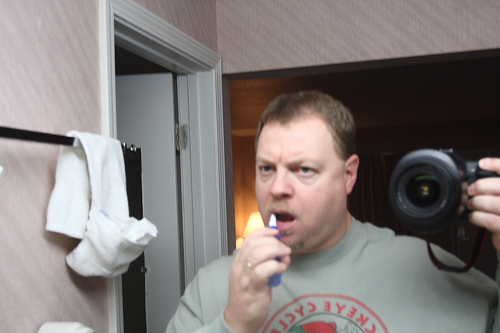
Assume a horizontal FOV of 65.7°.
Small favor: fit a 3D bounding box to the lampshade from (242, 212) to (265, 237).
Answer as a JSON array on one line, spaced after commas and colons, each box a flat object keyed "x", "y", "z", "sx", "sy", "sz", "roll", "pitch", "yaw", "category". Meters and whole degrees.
[{"x": 0.045, "y": 0.894, "z": 5.704, "sx": 0.239, "sy": 0.402, "sz": 0.524, "roll": 1, "pitch": 4, "yaw": -5, "category": "lampshade"}]

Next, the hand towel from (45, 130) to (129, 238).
[{"x": -0.581, "y": 0.055, "z": 1.449, "sx": 0.267, "sy": 0.387, "sz": 0.199, "roll": 8, "pitch": 5, "yaw": 30, "category": "hand towel"}]

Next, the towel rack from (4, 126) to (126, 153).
[{"x": -0.605, "y": -0.075, "z": 1.360, "sx": 0.055, "sy": 0.060, "sz": 0.520, "roll": 7, "pitch": 1, "yaw": 31, "category": "towel rack"}]

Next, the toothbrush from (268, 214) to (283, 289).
[{"x": 0.079, "y": 0.263, "z": 1.210, "sx": 0.037, "sy": 0.240, "sz": 0.038, "roll": -2, "pitch": -9, "yaw": 7, "category": "toothbrush"}]

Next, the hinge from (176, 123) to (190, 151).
[{"x": -0.384, "y": -0.175, "z": 2.252, "sx": 0.076, "sy": 0.157, "sz": 0.023, "roll": 0, "pitch": 4, "yaw": -17, "category": "hinge"}]
